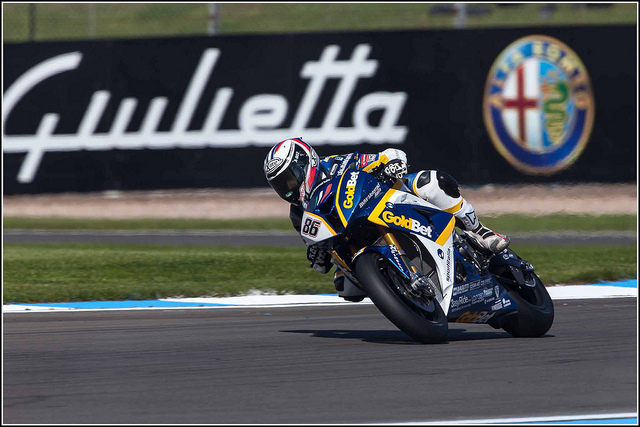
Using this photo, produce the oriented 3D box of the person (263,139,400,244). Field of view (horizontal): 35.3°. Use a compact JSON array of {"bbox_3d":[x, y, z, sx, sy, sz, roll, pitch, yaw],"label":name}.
[{"bbox_3d":[0.029,-0.273,11.151,1.663,0.530,0.887,3,-34,-36],"label":"person"}]
